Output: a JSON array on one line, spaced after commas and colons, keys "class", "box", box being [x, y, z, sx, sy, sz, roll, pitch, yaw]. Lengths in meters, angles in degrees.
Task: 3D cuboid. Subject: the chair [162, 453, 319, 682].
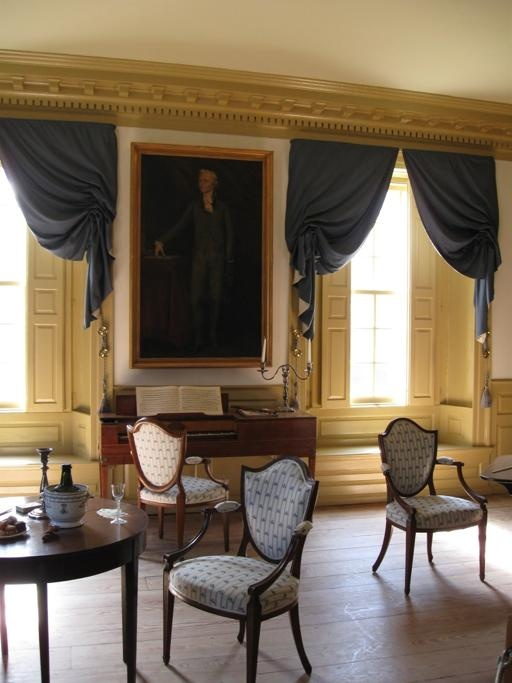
[{"class": "chair", "box": [-0.079, 1.063, 2.787, 0.658, 1.127, 0.715, 9, -9, -43]}]

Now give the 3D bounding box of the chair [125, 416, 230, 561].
[{"class": "chair", "box": [-0.513, 0.890, 3.913, 0.639, 0.835, 0.586, 1, -2, -30]}]

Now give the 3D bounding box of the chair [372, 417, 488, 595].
[{"class": "chair", "box": [0.992, 0.942, 3.672, 0.679, 0.905, 0.614, 1, -1, -25]}]

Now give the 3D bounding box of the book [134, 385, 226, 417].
[{"class": "book", "box": [-0.581, 0.438, 4.427, 0.458, 0.251, 0.093, 1, -11, -12]}]

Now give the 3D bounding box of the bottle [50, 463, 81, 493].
[{"class": "bottle", "box": [-0.746, 0.545, 2.402, 0.116, 0.110, 0.114, 1, 0, 1]}]

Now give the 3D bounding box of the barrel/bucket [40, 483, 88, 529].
[{"class": "barrel/bucket", "box": [-0.752, 0.627, 2.389, 0.170, 0.134, 0.154, 3, 6, 15]}]
